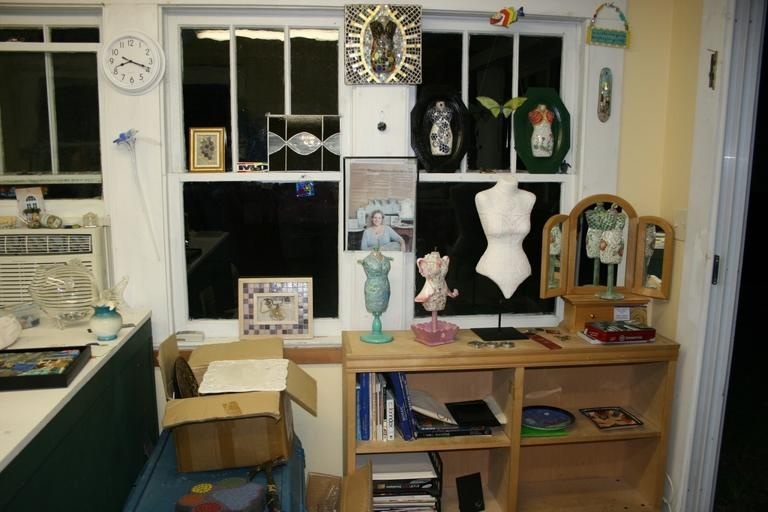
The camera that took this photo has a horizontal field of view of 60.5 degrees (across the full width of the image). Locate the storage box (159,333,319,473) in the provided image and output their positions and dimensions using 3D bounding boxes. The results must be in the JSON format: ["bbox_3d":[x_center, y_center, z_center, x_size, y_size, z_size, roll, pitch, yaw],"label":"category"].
[{"bbox_3d":[-0.719,0.779,3.295,0.654,0.463,0.671,-2,16,-9],"label":"storage box"}]

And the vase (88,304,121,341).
[{"bbox_3d":[-1.352,0.318,3.194,0.165,0.193,0.166,2,-4,-25],"label":"vase"}]

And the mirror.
[{"bbox_3d":[1.277,0.038,3.692,0.744,0.791,0.257,-1,7,0],"label":"mirror"}]

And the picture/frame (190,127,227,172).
[{"bbox_3d":[-0.981,-0.592,3.641,0.243,0.300,0.032,0,5,-4],"label":"picture/frame"}]

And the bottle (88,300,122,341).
[{"bbox_3d":[-1.370,0.325,3.249,0.151,0.179,0.152,0,3,-1],"label":"bottle"}]

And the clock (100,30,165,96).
[{"bbox_3d":[-1.351,-1.040,3.521,0.343,0.346,0.041,-1,3,-6],"label":"clock"}]

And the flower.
[{"bbox_3d":[-1.342,-0.326,3.575,0.202,0.712,0.072,-5,9,-13],"label":"flower"}]

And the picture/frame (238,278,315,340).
[{"bbox_3d":[-0.619,0.287,3.682,0.338,0.286,0.026,-1,4,-3],"label":"picture/frame"}]
